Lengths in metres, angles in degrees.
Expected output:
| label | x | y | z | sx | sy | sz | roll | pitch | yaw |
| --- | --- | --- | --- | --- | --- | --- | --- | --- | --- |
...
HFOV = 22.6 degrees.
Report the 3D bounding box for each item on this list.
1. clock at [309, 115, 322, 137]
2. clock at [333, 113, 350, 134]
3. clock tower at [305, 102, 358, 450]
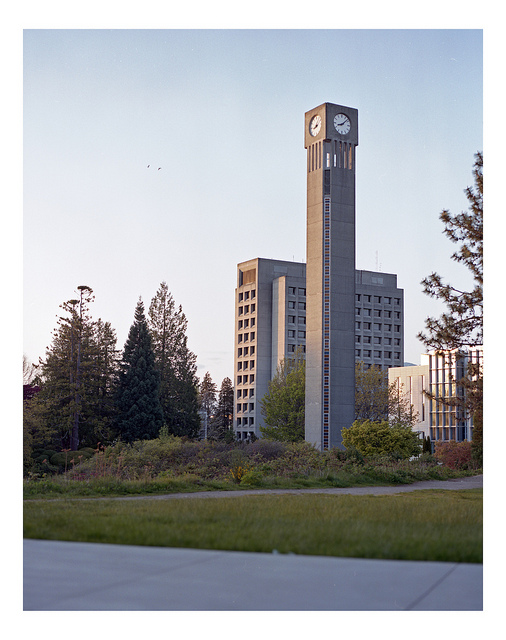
| label | x | y | z | sx | sy | sz | roll | pitch | yaw |
| --- | --- | --- | --- | --- | --- | --- | --- | --- | --- |
| clock | 2.860 | -9.020 | 57.780 | 0.179 | 0.966 | 1.235 | 2 | -5 | -18 |
| clock | 4.076 | -9.106 | 57.683 | 0.239 | 0.944 | 1.038 | -2 | -6 | 38 |
| clock tower | 3.510 | -2.204 | 56.477 | 2.231 | 15.803 | 3.516 | 0 | -4 | 4 |
